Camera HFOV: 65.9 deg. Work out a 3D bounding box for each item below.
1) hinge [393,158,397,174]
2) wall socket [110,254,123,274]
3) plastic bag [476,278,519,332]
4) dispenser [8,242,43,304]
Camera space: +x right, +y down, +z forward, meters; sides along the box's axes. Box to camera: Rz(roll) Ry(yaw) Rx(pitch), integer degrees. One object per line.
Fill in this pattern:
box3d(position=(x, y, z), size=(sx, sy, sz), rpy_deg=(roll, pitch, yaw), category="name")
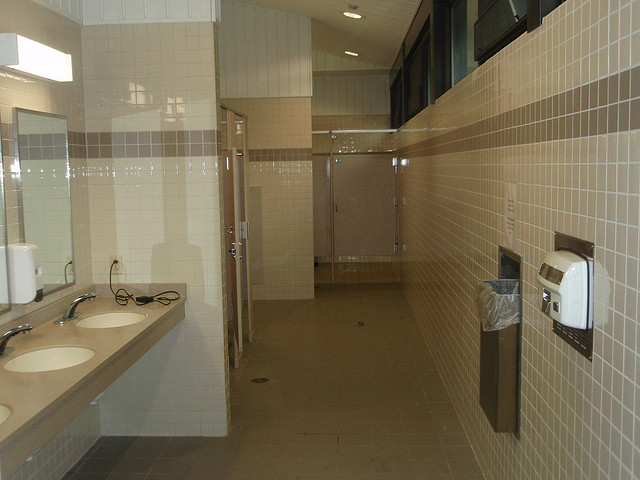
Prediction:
box3d(position=(1.269, -1.222, 8.023), size=(0.039, 0.221, 0.095), rpy_deg=(-8, 12, -31), category="hinge")
box3d(position=(-1.443, 0.168, 3.469), size=(0.084, 0.139, 0.029), rpy_deg=(-5, 10, -17), category="wall socket")
box3d(position=(0.927, 0.339, 2.514), size=(0.204, 0.260, 0.234), rpy_deg=(1, 11, 17), category="plastic bag")
box3d(position=(-1.586, 0.176, 2.616), size=(0.173, 0.317, 0.336), rpy_deg=(0, 4, -16), category="dispenser")
